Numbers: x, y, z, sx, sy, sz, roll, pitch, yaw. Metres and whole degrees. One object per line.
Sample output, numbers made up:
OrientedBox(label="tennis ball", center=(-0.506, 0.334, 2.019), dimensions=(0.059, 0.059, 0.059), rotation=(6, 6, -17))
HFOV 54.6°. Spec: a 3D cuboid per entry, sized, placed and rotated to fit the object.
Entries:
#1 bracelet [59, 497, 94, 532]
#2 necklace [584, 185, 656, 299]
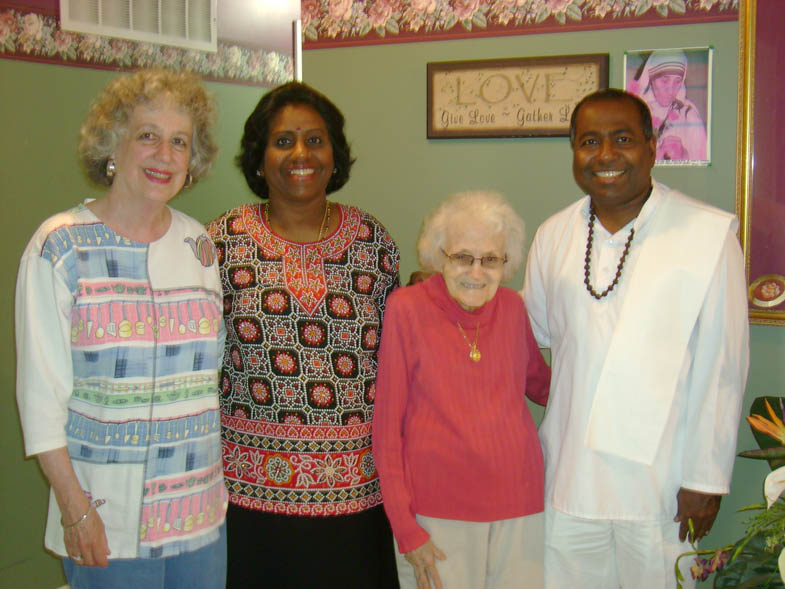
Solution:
OrientedBox(label="bracelet", center=(-0.880, 0.624, 2.114), dimensions=(0.022, 0.082, 0.084), rotation=(48, 0, 41))
OrientedBox(label="necklace", center=(0.744, -0.150, 2.590), dimensions=(0.149, 0.479, 0.052), rotation=(1, -15, 41))
